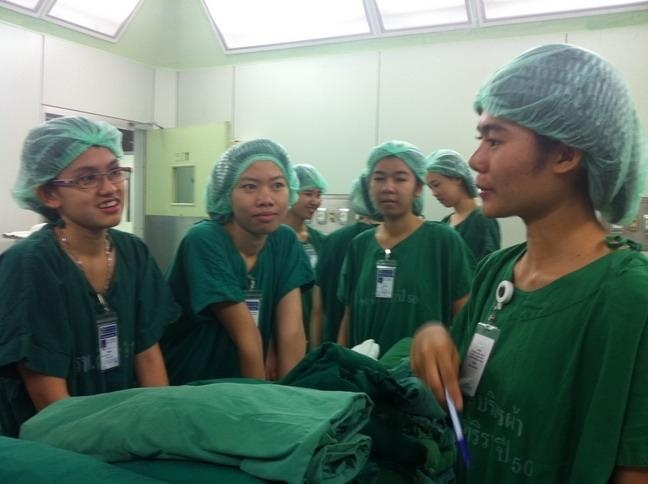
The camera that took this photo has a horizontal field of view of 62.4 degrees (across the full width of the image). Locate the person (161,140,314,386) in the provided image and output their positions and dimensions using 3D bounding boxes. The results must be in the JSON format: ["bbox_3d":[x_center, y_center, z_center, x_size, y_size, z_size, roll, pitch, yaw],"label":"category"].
[{"bbox_3d":[-0.368,0.088,2.332,0.677,1.085,0.505,-2,5,-17],"label":"person"}]
